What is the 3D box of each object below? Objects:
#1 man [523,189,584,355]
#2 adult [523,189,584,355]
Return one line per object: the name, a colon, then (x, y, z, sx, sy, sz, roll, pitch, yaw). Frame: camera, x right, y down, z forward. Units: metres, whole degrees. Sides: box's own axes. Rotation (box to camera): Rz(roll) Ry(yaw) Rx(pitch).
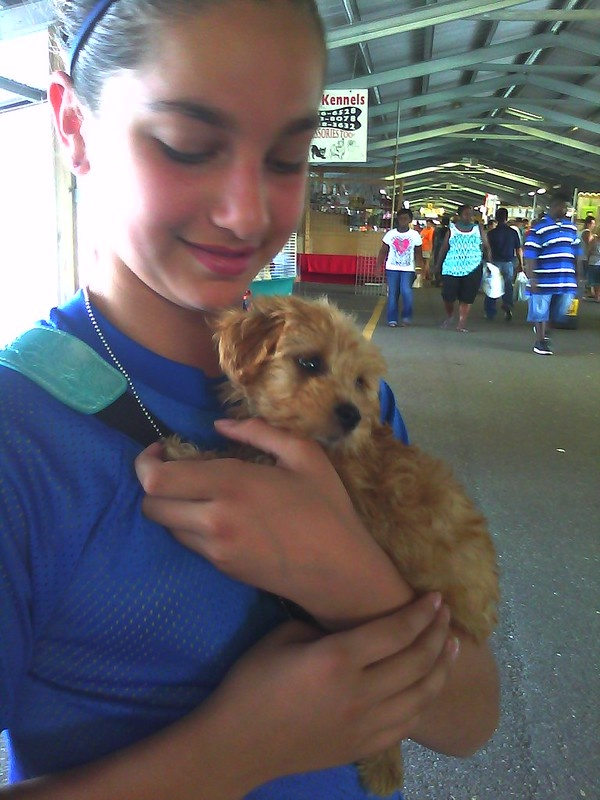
man: (3.541, -1.808, 8.891, 0.859, 2.116, 1.299, 12, 27, 16)
adult: (3.533, -1.804, 8.881, 0.852, 2.116, 1.282, 12, 27, 16)
